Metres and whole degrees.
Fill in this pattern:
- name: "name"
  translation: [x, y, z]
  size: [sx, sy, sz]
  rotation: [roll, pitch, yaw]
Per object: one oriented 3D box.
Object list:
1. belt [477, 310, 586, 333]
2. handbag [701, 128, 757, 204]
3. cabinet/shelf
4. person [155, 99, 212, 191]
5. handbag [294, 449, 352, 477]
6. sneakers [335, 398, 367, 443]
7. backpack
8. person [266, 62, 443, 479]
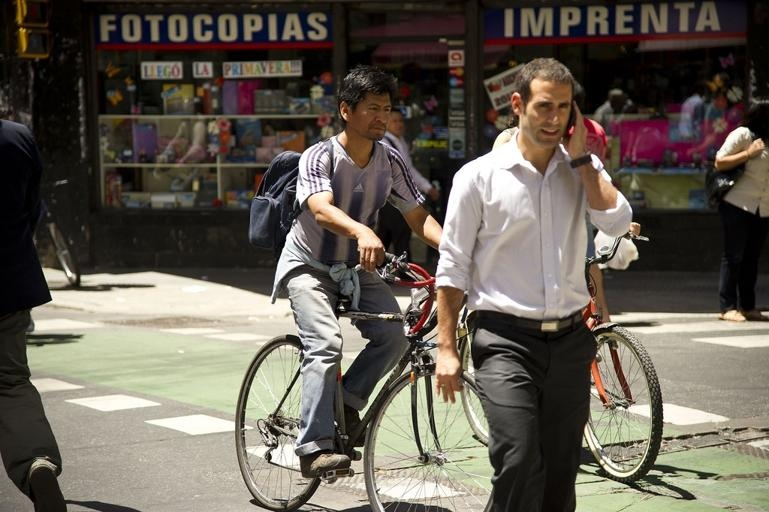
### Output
- name: "belt"
  translation: [0.859, 0.377, 5.513]
  size: [0.623, 0.124, 0.160]
  rotation: [0, 10, 5]
- name: "handbag"
  translation: [4.239, -1.056, 12.083]
  size: [0.635, 0.843, 0.881]
  rotation: [-9, -30, 0]
- name: "cabinet/shelf"
  translation: [-2.817, -1.530, 15.938]
  size: [4.063, 1.489, 0.749]
  rotation: [-1, 5, -4]
- name: "person"
  translation: [-3.532, -1.939, 16.301]
  size: [0.729, 1.221, 0.496]
  rotation: [15, -14, -36]
- name: "handbag"
  translation: [-0.416, 1.373, 6.278]
  size: [0.306, 0.145, 0.163]
  rotation: [-10, -6, 25]
- name: "sneakers"
  translation: [-0.238, 1.147, 6.448]
  size: [0.196, 0.274, 0.279]
  rotation: [0, 1, 13]
- name: "backpack"
  translation: [-0.806, -0.442, 7.077]
  size: [0.398, 0.721, 0.516]
  rotation: [15, 12, 16]
- name: "person"
  translation: [-0.187, 0.091, 6.417]
  size: [1.165, 2.741, 0.917]
  rotation: [-3, 10, -8]
